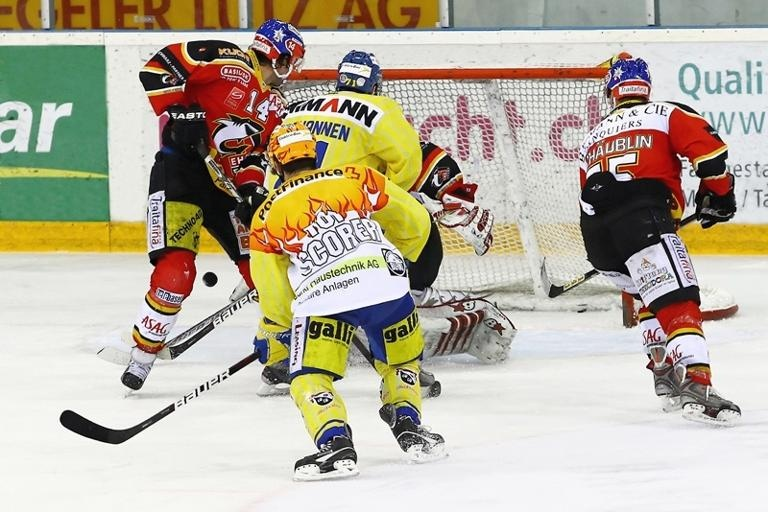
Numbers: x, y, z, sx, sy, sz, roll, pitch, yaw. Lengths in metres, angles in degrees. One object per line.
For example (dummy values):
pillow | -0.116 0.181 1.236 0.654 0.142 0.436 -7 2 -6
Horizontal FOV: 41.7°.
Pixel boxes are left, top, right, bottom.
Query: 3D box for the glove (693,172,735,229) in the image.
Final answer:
glove | 1.845 -0.291 5.542 0.251 0.231 0.294 7 -2 22

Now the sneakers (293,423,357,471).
sneakers | -0.262 0.897 4.597 0.278 0.237 0.108 1 10 -4

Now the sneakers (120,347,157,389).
sneakers | -1.383 0.642 5.741 0.112 0.134 0.315 30 30 -20

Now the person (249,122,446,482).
person | -0.199 0.183 4.820 0.876 1.587 0.782 0 10 -6

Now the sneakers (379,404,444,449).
sneakers | 0.150 0.811 4.869 0.119 0.217 0.344 -9 -16 31

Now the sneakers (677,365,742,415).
sneakers | 1.639 0.684 5.069 0.327 0.241 0.175 4 10 19

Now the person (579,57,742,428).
person | 1.529 -0.152 5.404 0.611 1.814 1.163 -4 11 -28

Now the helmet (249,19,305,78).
helmet | -0.666 -1.250 6.123 0.354 0.307 0.278 9 14 -36

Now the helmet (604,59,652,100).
helmet | 1.422 -0.987 5.733 0.270 0.273 0.312 -5 10 -4

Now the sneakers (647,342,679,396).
sneakers | 1.508 0.615 5.362 0.112 0.243 0.296 1 9 -2

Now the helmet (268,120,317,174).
helmet | -0.427 -0.529 4.988 0.220 0.246 0.270 -5 7 -6

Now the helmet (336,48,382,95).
helmet | -0.131 -1.049 5.802 0.226 0.247 0.282 7 12 12

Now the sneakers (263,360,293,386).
sneakers | -0.597 0.658 5.591 0.188 0.072 0.182 -4 0 20
